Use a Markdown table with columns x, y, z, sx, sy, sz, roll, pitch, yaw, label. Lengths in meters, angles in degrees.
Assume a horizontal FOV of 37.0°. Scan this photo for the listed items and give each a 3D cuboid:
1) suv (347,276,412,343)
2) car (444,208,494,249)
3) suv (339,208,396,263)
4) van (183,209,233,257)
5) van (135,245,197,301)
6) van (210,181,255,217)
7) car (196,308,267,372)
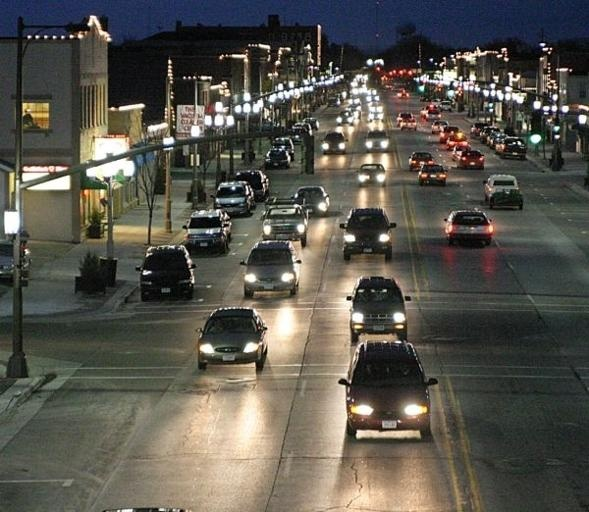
| x | y | z | sx | sy | sz | roll | pitch | yaw | label |
| --- | --- | --- | --- | --- | --- | --- | --- | --- | --- |
| 2.588 | 1.719 | 27.113 | 1.758 | 1.626 | 3.516 | -1 | 1 | 4 | suv |
| 8.983 | -1.527 | 45.708 | 1.456 | 1.183 | 2.542 | 0 | 13 | 4 | car |
| 3.505 | -0.912 | 42.203 | 2.642 | 2.290 | 4.667 | -1 | 2 | 5 | suv |
| -4.554 | -1.249 | 46.318 | 2.112 | 1.955 | 2.823 | -2 | 11 | 4 | van |
| -5.066 | 0.823 | 35.122 | 2.037 | 1.803 | 1.457 | -2 | 11 | 3 | van |
| -3.937 | -3.738 | 57.710 | 2.589 | 2.299 | 5.295 | -1 | 5 | 2 | van |
| -1.703 | 2.411 | 23.961 | 1.821 | 1.389 | 1.374 | -4 | 11 | -6 | car |
